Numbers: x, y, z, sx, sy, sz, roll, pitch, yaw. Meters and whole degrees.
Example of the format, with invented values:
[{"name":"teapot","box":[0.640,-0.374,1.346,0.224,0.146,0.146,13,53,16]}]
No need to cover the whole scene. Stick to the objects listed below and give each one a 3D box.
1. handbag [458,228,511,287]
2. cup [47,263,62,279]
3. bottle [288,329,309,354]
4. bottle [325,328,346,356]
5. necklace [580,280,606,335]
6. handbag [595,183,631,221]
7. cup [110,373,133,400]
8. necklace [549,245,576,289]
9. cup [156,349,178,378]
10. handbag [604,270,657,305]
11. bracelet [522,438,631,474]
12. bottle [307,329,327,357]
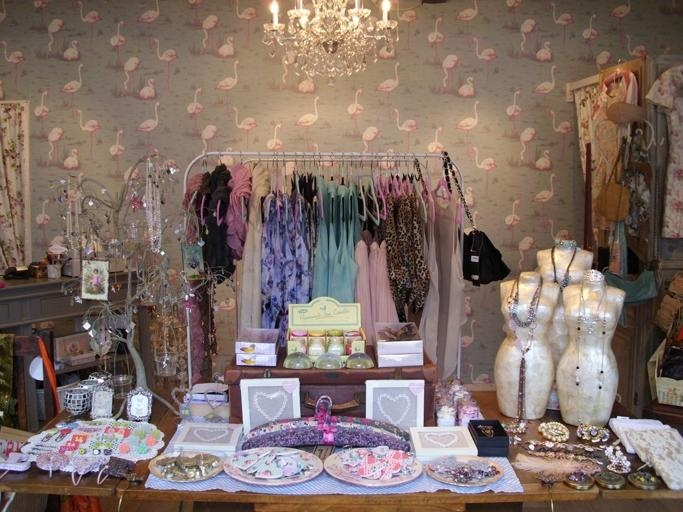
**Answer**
[{"name":"handbag","box":[0.866,-0.005,3.670,0.185,0.338,0.339,-16,7,-16]},{"name":"cup","box":[-2.149,0.112,4.445,0.080,0.094,0.111,-1,-7,15]},{"name":"bottle","box":[-0.213,0.419,2.883,0.091,0.139,0.097,0,-34,0]},{"name":"bottle","box":[-0.024,0.427,2.856,0.091,0.179,0.094,-2,-2,0]},{"name":"necklace","box":[1.116,0.219,2.571,0.104,0.205,0.051,-2,-10,11]},{"name":"handbag","box":[1.791,-0.352,3.847,0.180,0.258,0.154,-3,4,7]},{"name":"cup","box":[-1.137,0.686,3.065,0.096,0.086,0.109,-1,-7,14]},{"name":"necklace","box":[1.045,0.063,2.756,0.100,0.208,0.049,-1,-16,16]},{"name":"cup","box":[-0.883,0.554,3.017,0.117,0.095,0.115,1,-1,0]},{"name":"handbag","box":[1.899,0.199,3.775,0.342,0.179,0.355,4,-6,18]},{"name":"bracelet","box":[1.011,0.845,2.497,0.401,0.075,0.148,3,29,-10]},{"name":"bottle","box":[-0.120,0.418,2.853,0.090,0.141,0.094,1,-15,0]}]
